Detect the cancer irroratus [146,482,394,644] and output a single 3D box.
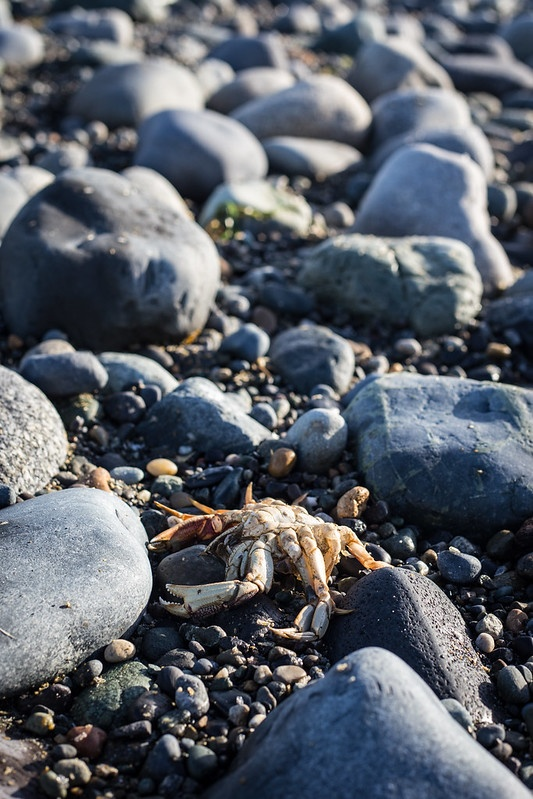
[{"bbox_3d":[0.024,0.467,2.817,0.695,0.204,0.746,-6,20,-15],"label":"cancer irroratus"}]
